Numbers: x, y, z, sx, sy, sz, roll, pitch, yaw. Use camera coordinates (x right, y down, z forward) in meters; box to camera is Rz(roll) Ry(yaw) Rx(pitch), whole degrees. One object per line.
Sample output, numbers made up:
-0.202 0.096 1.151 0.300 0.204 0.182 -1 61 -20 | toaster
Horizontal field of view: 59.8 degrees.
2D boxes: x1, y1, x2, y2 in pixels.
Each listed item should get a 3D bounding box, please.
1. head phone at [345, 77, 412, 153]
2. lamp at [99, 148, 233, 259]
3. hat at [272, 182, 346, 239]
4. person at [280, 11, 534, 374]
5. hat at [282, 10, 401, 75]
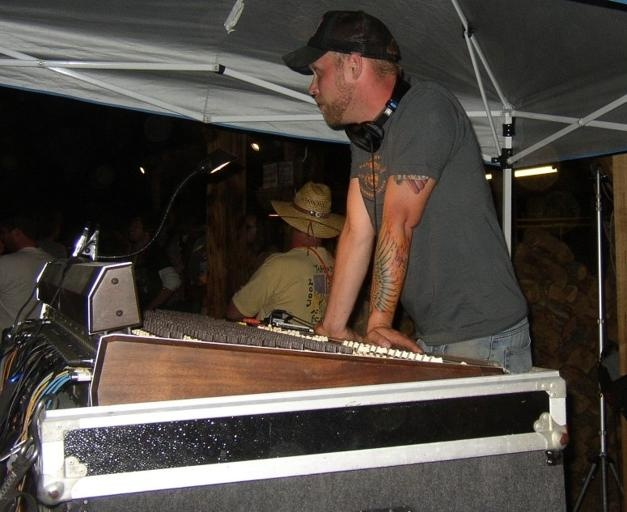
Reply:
0.251 -0.597 2.188 0.127 0.316 0.351 34 12 -23 | head phone
-2.187 -0.793 7.898 2.821 0.871 0.568 -31 27 -10 | lamp
-0.001 -0.428 4.119 0.568 0.241 0.558 22 37 11 | hat
0.370 -0.272 2.115 0.959 1.281 0.645 10 6 37 | person
0.092 -0.879 2.184 0.427 0.240 0.287 4 19 11 | hat
